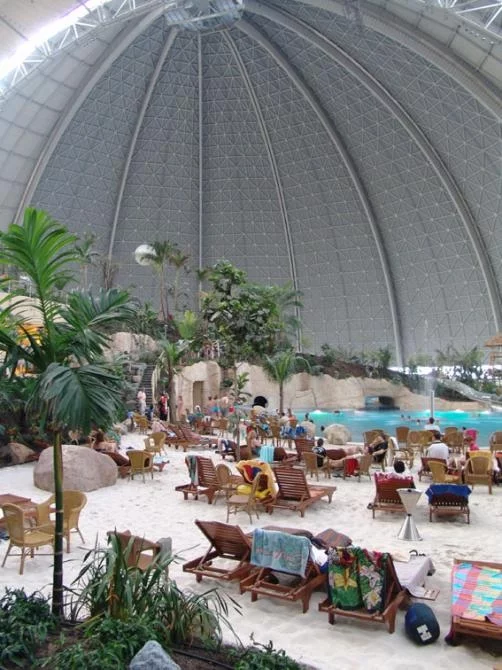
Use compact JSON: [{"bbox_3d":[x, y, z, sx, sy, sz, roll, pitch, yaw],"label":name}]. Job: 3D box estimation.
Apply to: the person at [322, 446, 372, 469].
[{"bbox_3d":[2.497,3.090,12.957,0.930,0.323,0.692,-3,-7,34],"label":"person"}]
